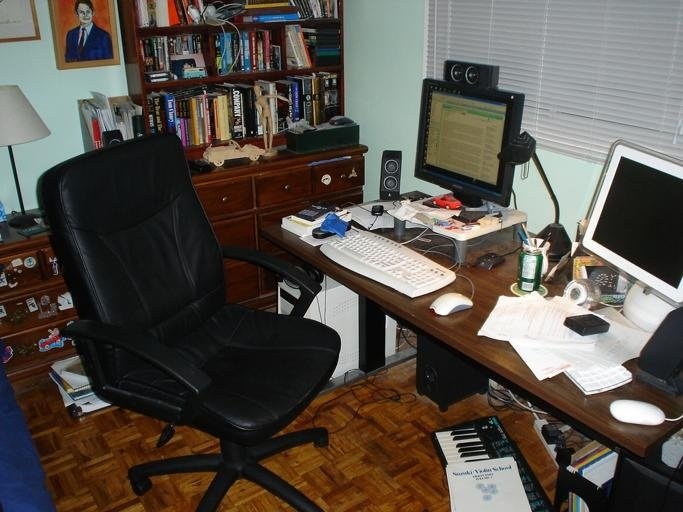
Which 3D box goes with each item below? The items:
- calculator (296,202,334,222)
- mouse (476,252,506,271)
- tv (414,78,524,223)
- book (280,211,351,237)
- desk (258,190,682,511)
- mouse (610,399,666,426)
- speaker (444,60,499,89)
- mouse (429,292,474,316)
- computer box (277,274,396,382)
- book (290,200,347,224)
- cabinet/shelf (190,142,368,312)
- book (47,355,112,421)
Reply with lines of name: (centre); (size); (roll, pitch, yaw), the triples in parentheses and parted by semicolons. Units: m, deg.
calculator: (-0.119, -0.216, 2.478); (0.103, 0.038, 0.139); (18, 37, 40)
mouse: (0.622, 0.017, 2.204); (0.097, 0.026, 0.069); (-20, 30, -34)
tv: (0.575, -0.477, 2.350); (0.224, 0.601, 0.637); (-23, 38, -34)
book: (-0.182, -0.157, 2.444); (0.177, 0.040, 0.189); (24, 38, 37)
desk: (0.510, 0.395, 2.080); (0.675, 0.584, 1.278); (-21, 34, -34)
mouse: (0.839, 0.443, 1.472); (0.080, 0.026, 0.106); (-20, 28, -34)
speaker: (0.568, -0.808, 2.323); (0.255, 0.109, 0.220); (8, 27, 19)
mouse: (0.387, 0.167, 1.893); (0.128, 0.041, 0.081); (-14, 28, -30)
computer box: (-0.039, 0.312, 2.388); (0.500, 0.571, 0.363); (-10, 30, -23)
book: (-0.114, -0.212, 2.473); (0.131, 0.038, 0.180); (18, 33, 41)
cabinet/shelf: (-0.368, -0.164, 2.764); (1.003, 0.821, 0.360); (-14, 32, -24)
book: (-1.360, 0.673, 2.659); (0.382, 0.092, 0.350); (-13, 32, -27)
